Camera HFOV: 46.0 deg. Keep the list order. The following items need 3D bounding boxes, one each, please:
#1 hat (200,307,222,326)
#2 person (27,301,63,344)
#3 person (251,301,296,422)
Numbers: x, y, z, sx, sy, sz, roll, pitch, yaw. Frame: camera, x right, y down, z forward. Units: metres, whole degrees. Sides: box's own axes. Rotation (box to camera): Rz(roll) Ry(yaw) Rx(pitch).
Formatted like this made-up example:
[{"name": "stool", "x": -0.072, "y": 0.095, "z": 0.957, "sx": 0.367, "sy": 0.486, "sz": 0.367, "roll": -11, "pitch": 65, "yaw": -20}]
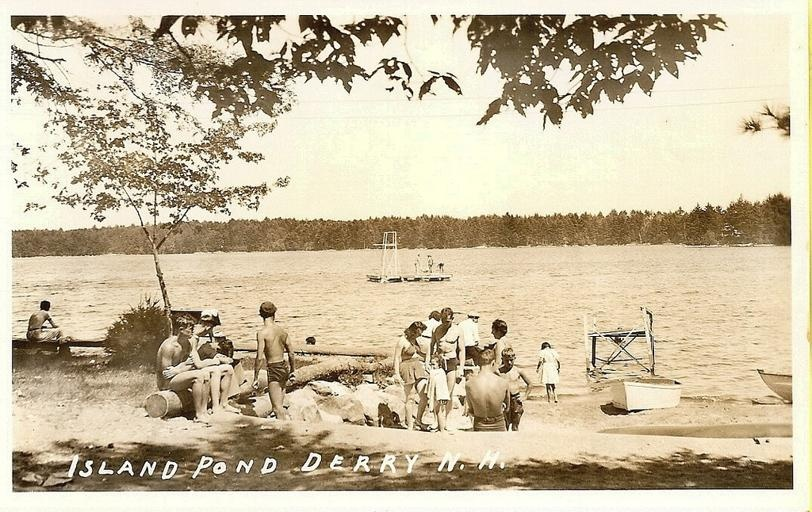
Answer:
[{"name": "hat", "x": -5.090, "y": 1.617, "z": 25.050, "sx": 0.450, "sy": 0.558, "sz": 0.594, "roll": 5, "pitch": 23, "yaw": -8}, {"name": "person", "x": -10.283, "y": 1.939, "z": 27.315, "sx": 0.843, "sy": 1.063, "sz": 0.706, "roll": 18, "pitch": 14, "yaw": 9}, {"name": "person", "x": -3.439, "y": 2.767, "z": 25.103, "sx": 1.030, "sy": 3.100, "sz": 0.742, "roll": -1, "pitch": 0, "yaw": -15}]
